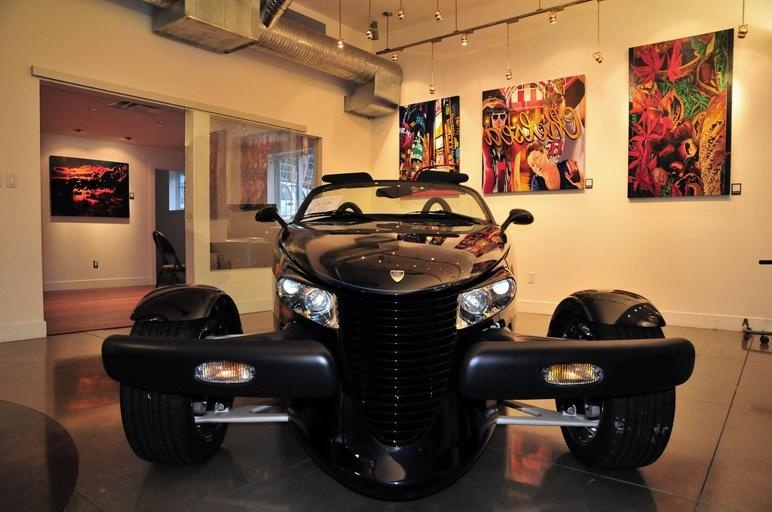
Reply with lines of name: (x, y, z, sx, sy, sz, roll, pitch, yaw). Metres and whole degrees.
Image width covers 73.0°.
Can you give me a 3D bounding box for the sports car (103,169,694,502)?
sports car: (0.015, 0.328, 4.757, 3.174, 1.770, 4.345, 0, 4, -3)
